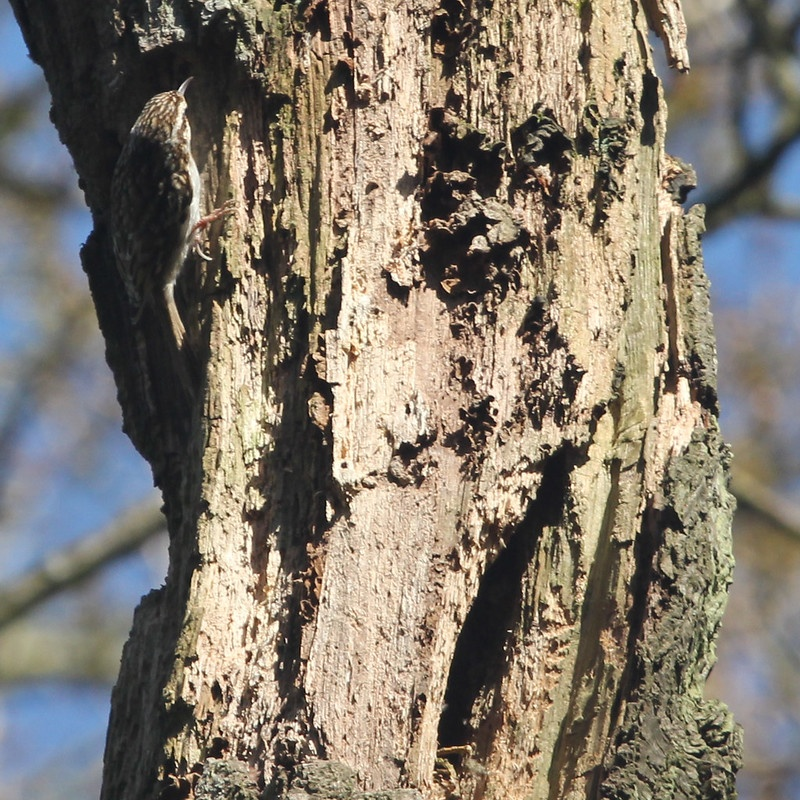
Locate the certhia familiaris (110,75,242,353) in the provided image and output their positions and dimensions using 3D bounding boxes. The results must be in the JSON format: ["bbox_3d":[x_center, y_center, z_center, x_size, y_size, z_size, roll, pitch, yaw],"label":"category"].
[{"bbox_3d":[-0.654,-0.545,6.914,0.363,0.230,0.754,-15,-63,12],"label":"certhia familiaris"}]
